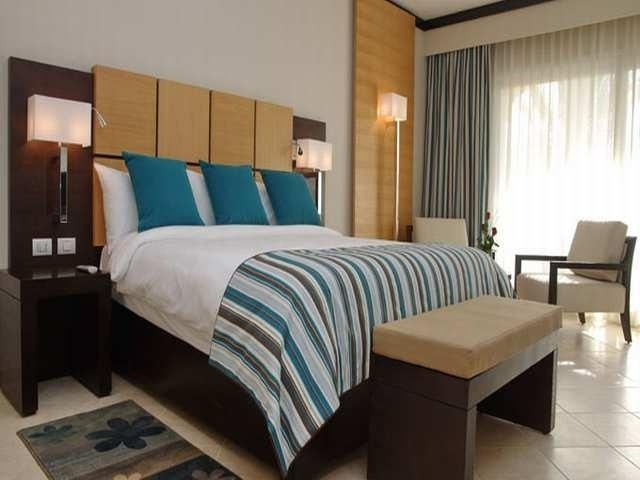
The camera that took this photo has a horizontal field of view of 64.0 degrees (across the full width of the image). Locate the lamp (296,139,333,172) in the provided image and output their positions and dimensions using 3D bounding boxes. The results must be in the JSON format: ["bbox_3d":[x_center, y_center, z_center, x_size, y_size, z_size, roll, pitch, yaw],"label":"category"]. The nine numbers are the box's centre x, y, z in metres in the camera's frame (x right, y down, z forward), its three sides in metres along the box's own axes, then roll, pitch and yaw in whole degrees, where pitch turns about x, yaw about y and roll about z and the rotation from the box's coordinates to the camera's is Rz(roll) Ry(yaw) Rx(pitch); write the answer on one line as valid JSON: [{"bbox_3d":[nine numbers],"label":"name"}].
[{"bbox_3d":[-0.038,-0.799,5.051,0.238,0.384,0.473,1,1,39],"label":"lamp"}]

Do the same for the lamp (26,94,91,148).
[{"bbox_3d":[-1.777,-0.808,3.467,0.117,0.331,0.359,4,3,44],"label":"lamp"}]
